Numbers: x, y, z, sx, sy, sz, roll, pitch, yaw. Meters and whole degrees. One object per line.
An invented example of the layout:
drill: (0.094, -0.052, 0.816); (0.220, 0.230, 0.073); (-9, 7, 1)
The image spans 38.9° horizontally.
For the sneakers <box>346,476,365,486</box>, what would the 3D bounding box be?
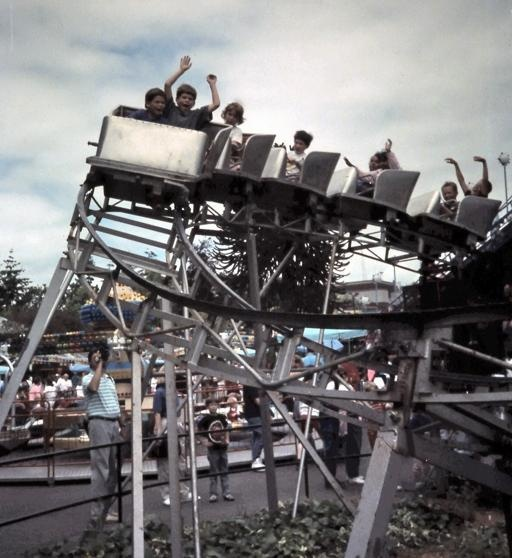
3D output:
sneakers: (1.765, 3.532, 12.814); (0.268, 0.115, 0.490); (1, -2, 6)

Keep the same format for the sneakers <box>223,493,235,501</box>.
sneakers: (-0.447, 3.591, 11.958); (0.191, 0.115, 0.286); (1, -2, -1)
